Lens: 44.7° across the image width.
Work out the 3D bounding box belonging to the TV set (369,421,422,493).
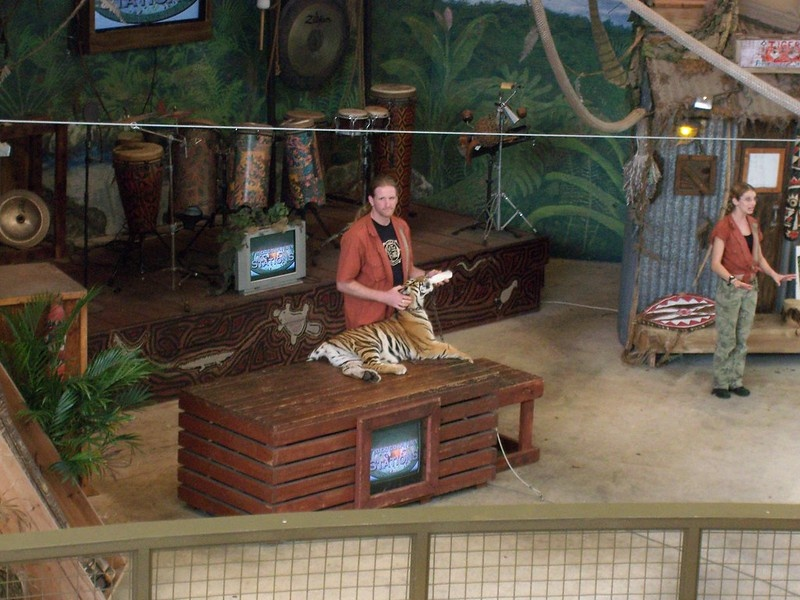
[{"bbox_3d":[-0.022,1.083,6.794,0.468,0.466,0.048,-13,20,-33],"label":"TV set"}]

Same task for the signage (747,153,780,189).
[{"bbox_3d":[3.542,-1.275,9.533,0.337,0.365,0.057,-7,18,-15],"label":"signage"}]

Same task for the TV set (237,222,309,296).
[{"bbox_3d":[-1.364,-0.425,9.438,0.480,0.610,0.826,15,21,40],"label":"TV set"}]

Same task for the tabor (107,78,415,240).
[{"bbox_3d":[-1.570,-1.491,10.271,1.227,1.460,3.321,19,26,41],"label":"tabor"}]

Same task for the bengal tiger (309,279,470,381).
[{"bbox_3d":[-0.100,0.194,7.291,1.239,0.632,0.564,-12,12,-17],"label":"bengal tiger"}]
